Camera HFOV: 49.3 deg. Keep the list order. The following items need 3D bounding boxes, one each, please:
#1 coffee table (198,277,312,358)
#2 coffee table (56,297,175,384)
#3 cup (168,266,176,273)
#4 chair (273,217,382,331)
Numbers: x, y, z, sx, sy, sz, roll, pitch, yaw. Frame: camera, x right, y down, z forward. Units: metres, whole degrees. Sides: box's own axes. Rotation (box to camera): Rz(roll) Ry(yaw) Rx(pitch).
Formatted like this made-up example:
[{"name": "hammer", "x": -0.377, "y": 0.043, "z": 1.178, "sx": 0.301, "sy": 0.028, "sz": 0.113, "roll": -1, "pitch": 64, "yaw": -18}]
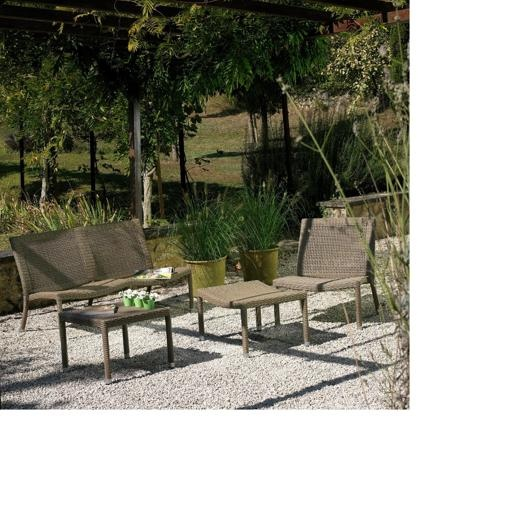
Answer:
[{"name": "coffee table", "x": -0.038, "y": 0.471, "z": 4.308, "sx": 0.604, "sy": 0.441, "sz": 0.815, "roll": -8, "pitch": 7, "yaw": -34}, {"name": "coffee table", "x": -0.973, "y": 0.458, "z": 3.718, "sx": 0.567, "sy": 0.454, "sz": 0.568, "roll": 0, "pitch": 4, "yaw": 39}, {"name": "cup", "x": -0.714, "y": 0.126, "z": 4.770, "sx": 0.053, "sy": 0.047, "sz": 0.083, "roll": 3, "pitch": 6, "yaw": -4}, {"name": "chair", "x": 0.610, "y": 0.141, "z": 4.727, "sx": 0.879, "sy": 0.844, "sz": 0.756, "roll": 3, "pitch": 8, "yaw": 42}]
